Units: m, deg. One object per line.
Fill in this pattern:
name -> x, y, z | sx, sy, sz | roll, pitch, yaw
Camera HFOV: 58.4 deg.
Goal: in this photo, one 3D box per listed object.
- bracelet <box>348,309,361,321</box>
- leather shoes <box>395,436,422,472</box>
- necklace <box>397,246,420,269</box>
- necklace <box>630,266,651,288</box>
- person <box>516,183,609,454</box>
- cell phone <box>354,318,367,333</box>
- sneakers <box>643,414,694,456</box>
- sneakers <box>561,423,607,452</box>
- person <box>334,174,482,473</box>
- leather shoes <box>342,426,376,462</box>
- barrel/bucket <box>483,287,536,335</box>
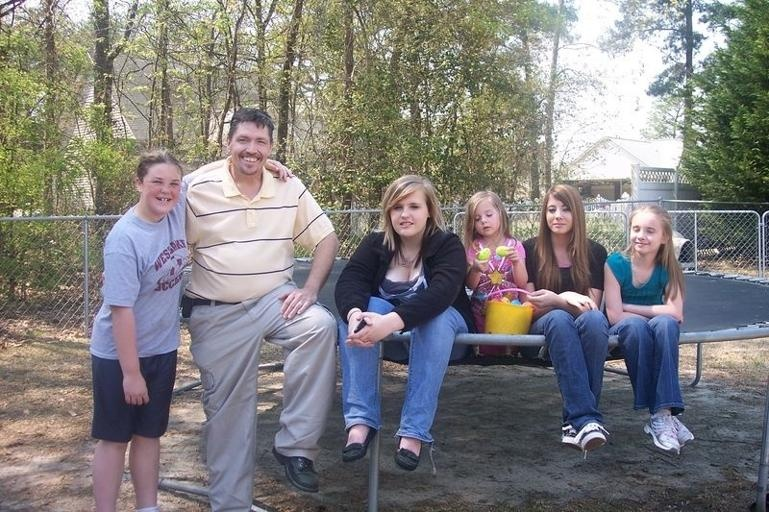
bracelet -> -0.192, 0.381, 4.484 | 0.071, 0.061, 0.079 | 16, -24, -7
leather shoes -> 0.147, 1.232, 4.247 | 0.109, 0.080, 0.258 | 14, 9, 3
necklace -> 0.165, 0.020, 4.763 | 0.109, 0.159, 0.055 | 2, -10, 12
necklace -> 1.802, 0.150, 4.827 | 0.102, 0.154, 0.036 | 0, -16, 15
person -> 1.207, 0.346, 4.663 | 0.596, 1.551, 1.152 | 3, 13, 14
cell phone -> -0.155, 0.456, 4.409 | 0.029, 0.039, 0.127 | -24, 16, 29
sneakers -> 1.805, 1.123, 4.379 | 0.233, 0.225, 0.182 | -6, 14, -26
sneakers -> 1.246, 1.161, 4.334 | 0.137, 0.154, 0.326 | -14, -7, -10
person -> 0.107, 0.380, 4.513 | 0.878, 1.721, 0.955 | 1, 12, 3
leather shoes -> -0.146, 1.205, 4.314 | 0.113, 0.084, 0.302 | -15, 12, 27
barrel/bucket -> 0.872, 0.389, 4.760 | 0.307, 0.242, 0.300 | 4, -7, 0
